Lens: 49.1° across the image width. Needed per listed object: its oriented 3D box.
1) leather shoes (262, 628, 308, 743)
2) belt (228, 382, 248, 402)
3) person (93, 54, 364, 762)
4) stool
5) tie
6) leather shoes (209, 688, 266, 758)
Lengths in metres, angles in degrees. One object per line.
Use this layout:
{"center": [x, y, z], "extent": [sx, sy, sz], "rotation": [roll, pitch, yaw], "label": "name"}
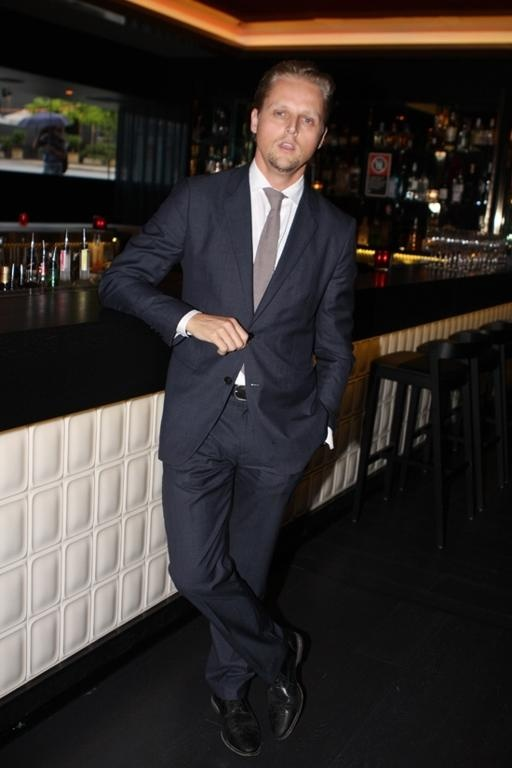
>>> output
{"center": [0.069, 0.777, 1.454], "extent": [0.081, 0.267, 0.099], "rotation": [-15, -25, 36], "label": "leather shoes"}
{"center": [-0.034, 0.019, 1.119], "extent": [0.031, 0.040, 0.039], "rotation": [5, 8, -5], "label": "belt"}
{"center": [-0.033, 0.078, 1.221], "extent": [0.477, 1.447, 0.349], "rotation": [2, 4, -25], "label": "person"}
{"center": [0.888, 0.285, 2.886], "extent": [0.438, 1.038, 0.861], "rotation": [9, 16, 30], "label": "stool"}
{"center": [0.015, -0.203, 1.108], "extent": [0.034, 0.357, 0.090], "rotation": [11, 9, 41], "label": "tie"}
{"center": [-0.038, 0.825, 1.391], "extent": [0.061, 0.072, 0.155], "rotation": [-3, 15, -21], "label": "leather shoes"}
